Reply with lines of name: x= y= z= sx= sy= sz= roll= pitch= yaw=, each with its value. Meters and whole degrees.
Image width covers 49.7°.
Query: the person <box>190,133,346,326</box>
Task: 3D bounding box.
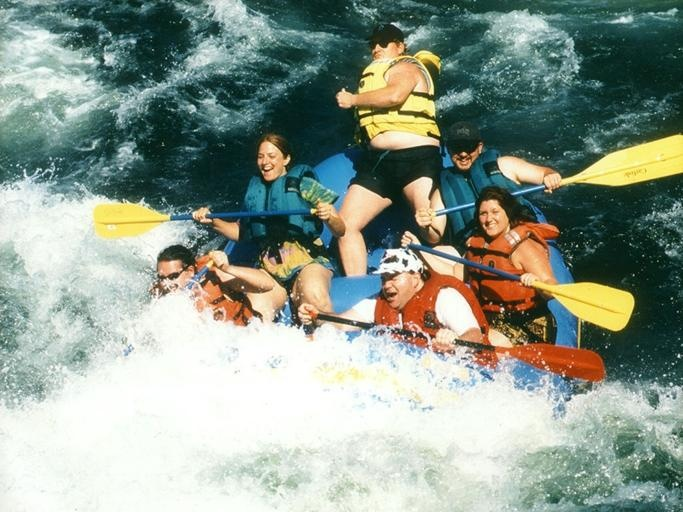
person: x=-0.751 y=-0.207 z=7.607 sx=1.250 sy=0.751 sz=2.054 roll=-25 pitch=45 yaw=7

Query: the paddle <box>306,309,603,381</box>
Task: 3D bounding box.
paddle: x=0.949 y=0.815 z=6.642 sx=1.989 sy=0.286 sz=0.072 roll=15 pitch=28 yaw=5

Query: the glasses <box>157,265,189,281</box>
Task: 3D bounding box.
glasses: x=-1.590 y=0.184 z=6.826 sx=0.158 sy=0.051 sz=0.163 roll=-12 pitch=17 yaw=27

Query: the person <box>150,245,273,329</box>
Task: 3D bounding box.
person: x=-1.227 y=0.320 z=6.957 sx=0.764 sy=0.384 sz=0.379 roll=-22 pitch=36 yaw=-22
